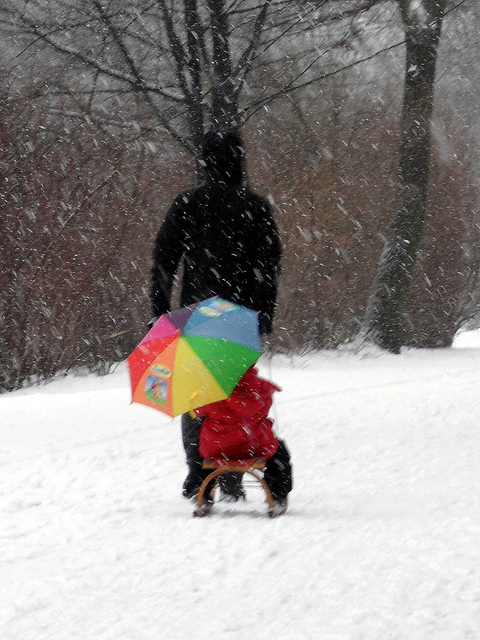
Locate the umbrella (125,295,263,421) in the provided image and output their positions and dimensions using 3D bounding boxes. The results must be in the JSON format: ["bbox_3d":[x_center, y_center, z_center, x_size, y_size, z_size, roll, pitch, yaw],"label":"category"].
[{"bbox_3d":[-0.196,0.138,3.992,0.449,0.592,0.695,1,8,-12],"label":"umbrella"}]

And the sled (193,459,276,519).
[{"bbox_3d":[-0.033,0.746,3.986,0.390,0.248,0.206,-5,5,12],"label":"sled"}]

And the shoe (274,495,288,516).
[{"bbox_3d":[0.191,0.820,3.940,0.041,0.080,0.110,-4,6,26],"label":"shoe"}]
